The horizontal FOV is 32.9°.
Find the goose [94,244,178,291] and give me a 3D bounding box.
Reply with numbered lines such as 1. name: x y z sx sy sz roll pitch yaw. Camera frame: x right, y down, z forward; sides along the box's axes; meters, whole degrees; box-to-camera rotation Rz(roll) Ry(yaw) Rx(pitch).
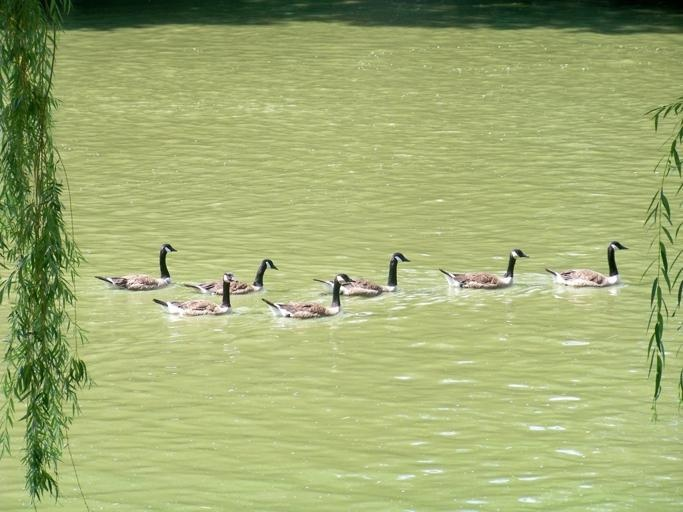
1. goose: -4.472 0.294 24.618 0.749 0.870 2.099 20 17 40

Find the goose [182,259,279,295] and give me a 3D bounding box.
1. goose: -2.324 0.558 24.602 0.592 0.861 2.040 37 25 33

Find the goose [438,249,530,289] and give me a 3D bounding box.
1. goose: 3.153 0.368 25.005 2.279 0.886 0.661 -2 15 35

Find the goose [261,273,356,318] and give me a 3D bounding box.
1. goose: -0.813 0.855 23.278 2.031 0.842 0.562 0 23 -30
